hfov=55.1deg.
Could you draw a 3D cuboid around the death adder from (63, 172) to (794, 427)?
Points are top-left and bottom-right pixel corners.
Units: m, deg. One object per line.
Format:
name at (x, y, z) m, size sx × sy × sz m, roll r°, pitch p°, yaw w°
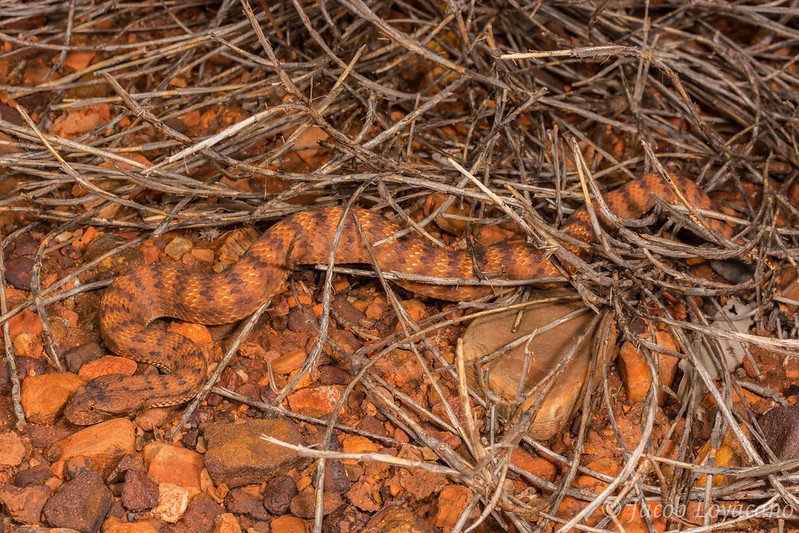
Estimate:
death adder at (0.262, 0.357, 6.082) m, size 5.207 × 1.697 × 0.535 m, roll -8°, pitch -31°, yaw 0°
